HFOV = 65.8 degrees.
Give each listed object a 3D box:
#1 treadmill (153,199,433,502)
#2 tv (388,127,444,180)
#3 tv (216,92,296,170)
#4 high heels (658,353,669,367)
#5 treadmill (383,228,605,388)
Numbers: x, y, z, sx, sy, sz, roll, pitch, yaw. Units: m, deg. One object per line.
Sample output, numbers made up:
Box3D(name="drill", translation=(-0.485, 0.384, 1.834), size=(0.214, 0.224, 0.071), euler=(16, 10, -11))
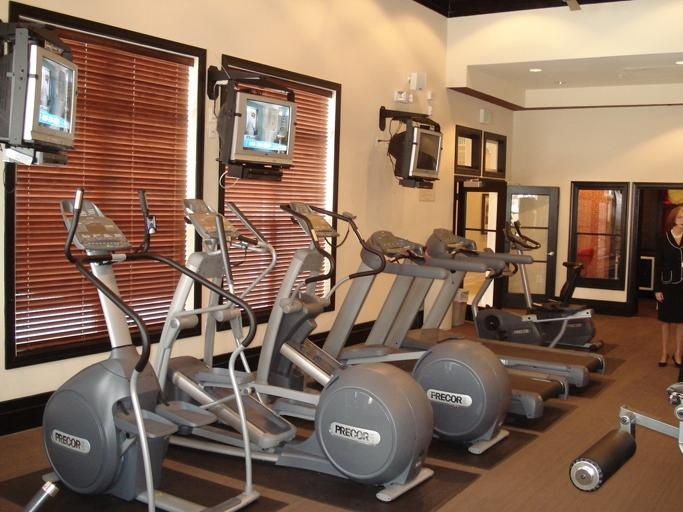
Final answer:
Box3D(name="treadmill", translation=(-0.417, 0.606, 3.893), size=(2.210, 1.756, 0.884), euler=(4, 0, 30))
Box3D(name="tv", translation=(0.957, -1.304, 7.188), size=(0.637, 0.829, 0.897), euler=(9, 12, 39))
Box3D(name="tv", translation=(-0.723, -1.148, 4.875), size=(0.242, 0.594, 0.713), euler=(7, 7, 44))
Box3D(name="high heels", translation=(3.926, 1.266, 6.423), size=(0.078, 0.071, 0.267), euler=(-3, 7, 39))
Box3D(name="treadmill", translation=(1.827, 0.599, 6.297), size=(1.835, 1.215, 0.673), euler=(3, 3, 33))
